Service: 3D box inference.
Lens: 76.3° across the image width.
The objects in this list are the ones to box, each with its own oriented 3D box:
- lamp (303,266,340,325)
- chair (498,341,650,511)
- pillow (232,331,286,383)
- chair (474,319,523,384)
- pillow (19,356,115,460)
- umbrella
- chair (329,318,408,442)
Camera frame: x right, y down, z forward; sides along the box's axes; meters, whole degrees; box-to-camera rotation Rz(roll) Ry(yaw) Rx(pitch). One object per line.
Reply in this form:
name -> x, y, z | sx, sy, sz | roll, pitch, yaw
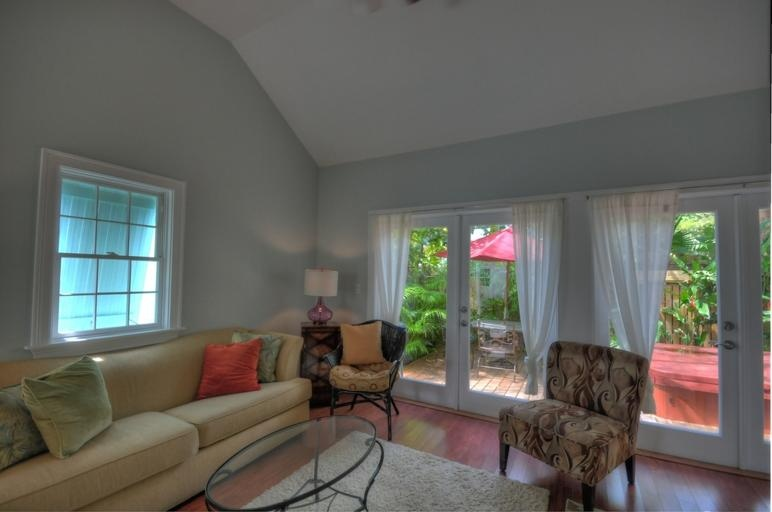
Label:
lamp -> -0.750, 0.479, 5.841 | 0.391, 0.645, 0.552 | 0, -1, -6
chair -> 1.651, 1.502, 4.722 | 1.299, 1.534, 1.324 | 11, -11, -40
pillow -> -1.200, 1.003, 4.830 | 0.484, 0.476, 0.195 | 5, -15, -7
chair -> 1.231, 1.015, 5.317 | 0.576, 0.784, 0.581 | 0, -4, 25
pillow -> -2.482, 1.203, 3.805 | 0.348, 0.607, 0.662 | -5, 3, 9
umbrella -> 1.321, 0.079, 5.483 | 0.829, 0.719, 0.715 | 2, 2, 13
chair -> -0.181, 1.256, 5.519 | 0.941, 1.273, 1.022 | -1, -15, 14
